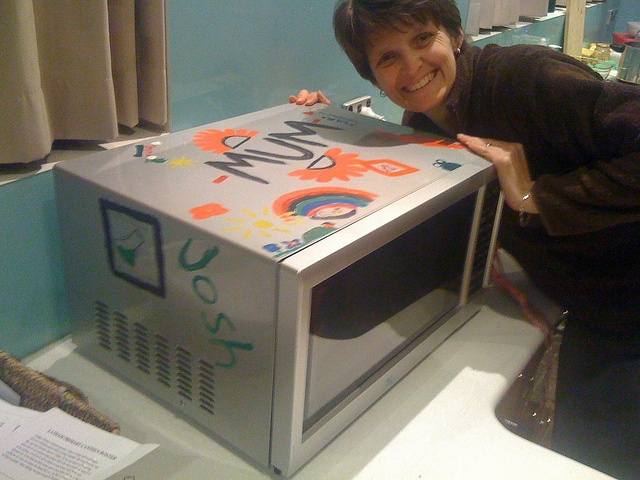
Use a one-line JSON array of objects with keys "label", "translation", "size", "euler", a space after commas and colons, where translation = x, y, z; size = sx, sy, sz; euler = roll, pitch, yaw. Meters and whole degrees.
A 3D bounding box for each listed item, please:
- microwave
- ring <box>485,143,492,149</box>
[{"label": "microwave", "translation": [-0.063, 0.030, 1.023], "size": [0.568, 0.434, 0.671], "euler": [22, 38, 34]}, {"label": "ring", "translation": [0.354, -0.198, 1.077], "size": [0.013, 0.010, 0.018], "euler": [8, 27, 34]}]
